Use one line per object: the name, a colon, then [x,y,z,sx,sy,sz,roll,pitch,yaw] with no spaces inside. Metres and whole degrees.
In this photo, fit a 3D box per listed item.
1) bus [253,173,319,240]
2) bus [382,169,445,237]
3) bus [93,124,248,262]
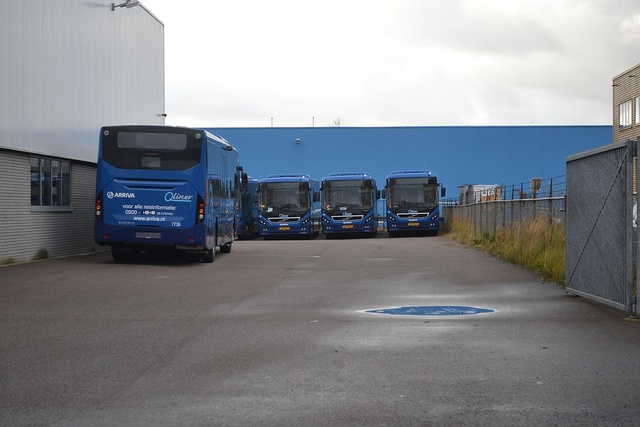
bus: [-2.084,-0.518,35.604,2.345,2.970,6.333,-1,-4,5]
bus: [6.044,-0.667,35.920,2.172,2.800,5.979,-1,-6,4]
bus: [-4.791,-0.724,18.756,3.279,4.709,4.770,0,1,16]
